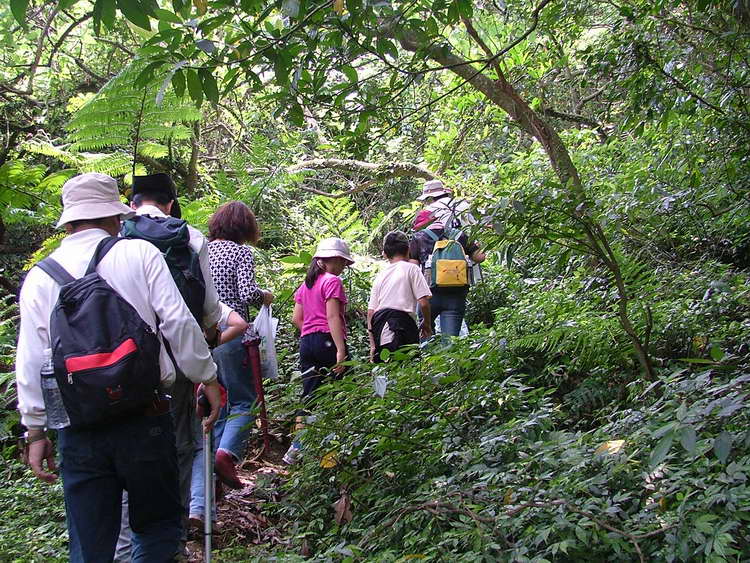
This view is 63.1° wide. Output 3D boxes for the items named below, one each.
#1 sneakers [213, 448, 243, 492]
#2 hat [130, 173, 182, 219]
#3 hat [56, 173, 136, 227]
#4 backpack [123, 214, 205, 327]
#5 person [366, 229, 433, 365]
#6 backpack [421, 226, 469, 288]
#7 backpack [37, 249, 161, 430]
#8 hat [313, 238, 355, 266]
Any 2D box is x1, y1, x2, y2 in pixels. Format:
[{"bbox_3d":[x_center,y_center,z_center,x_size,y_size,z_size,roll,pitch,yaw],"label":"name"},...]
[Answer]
[{"bbox_3d":[-1.115,1.454,4.660,0.131,0.168,0.393,-20,-50,4],"label":"sneakers"},{"bbox_3d":[-1.488,-0.630,4.126,0.293,0.160,0.383,-3,-22,-5],"label":"hat"},{"bbox_3d":[-1.619,-0.460,3.468,0.290,0.187,0.341,-5,-6,-11],"label":"hat"},{"bbox_3d":[-1.229,-0.052,3.526,0.352,0.640,0.508,-39,9,-24],"label":"backpack"},{"bbox_3d":[0.192,0.117,6.151,0.733,1.240,0.546,-12,-9,-5],"label":"person"},{"bbox_3d":[0.748,-0.232,6.281,0.468,0.628,0.639,0,-7,-4],"label":"backpack"},{"bbox_3d":[-1.467,0.243,3.198,0.596,1.006,0.296,-9,-9,-19],"label":"backpack"},{"bbox_3d":[-0.354,-0.266,5.654,0.244,0.157,0.305,-1,-12,30],"label":"hat"}]
